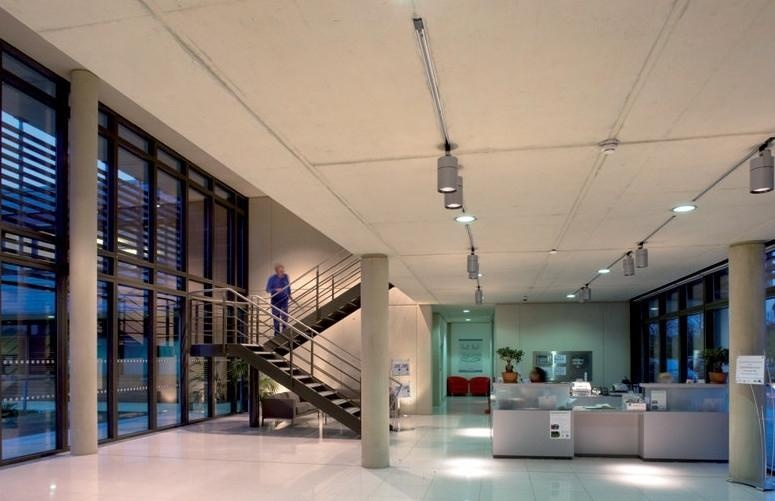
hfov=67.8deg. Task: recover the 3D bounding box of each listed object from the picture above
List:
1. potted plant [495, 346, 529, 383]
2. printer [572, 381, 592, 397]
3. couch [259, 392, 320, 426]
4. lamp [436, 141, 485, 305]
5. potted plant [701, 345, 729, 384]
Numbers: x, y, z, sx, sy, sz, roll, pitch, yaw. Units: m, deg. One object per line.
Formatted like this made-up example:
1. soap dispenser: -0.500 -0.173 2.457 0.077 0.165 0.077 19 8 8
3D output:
1. potted plant: 3.157 3.014 15.045 0.805 0.869 0.727 6 -14 -32
2. printer: 3.951 2.828 11.718 0.397 0.257 1.357 -3 -13 17
3. couch: -2.524 3.994 14.384 1.237 0.703 1.713 2 -13 -8
4. lamp: 0.982 -0.315 7.704 0.597 1.047 2.946 -3 -35 13
5. potted plant: 5.841 2.065 10.290 0.513 0.652 0.457 2 -4 16
